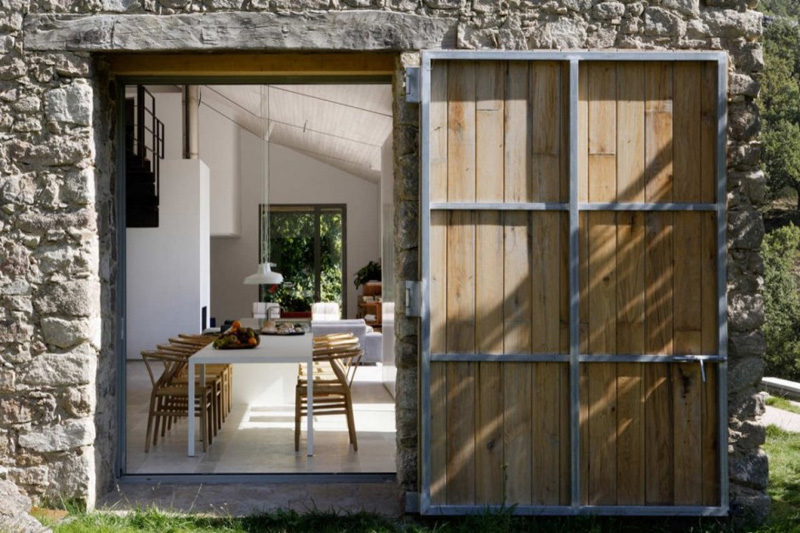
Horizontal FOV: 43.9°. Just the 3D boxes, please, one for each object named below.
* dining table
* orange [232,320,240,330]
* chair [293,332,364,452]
[{"bbox_3d":[-1.395,1.154,9.379,1.153,0.930,1.506,0,7,-6],"label":"dining table"},{"bbox_3d":[-1.570,0.562,9.460,0.067,0.088,0.078,4,8,2],"label":"orange"},{"bbox_3d":[-0.696,1.111,9.583,0.824,1.328,1.185,2,-5,-6],"label":"chair"}]
